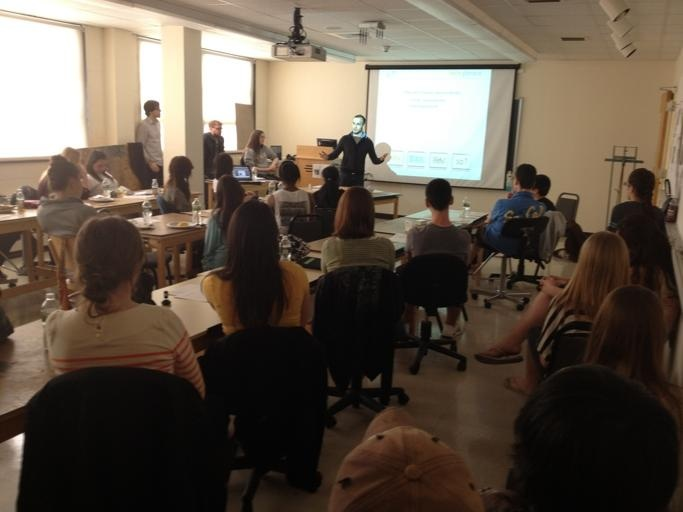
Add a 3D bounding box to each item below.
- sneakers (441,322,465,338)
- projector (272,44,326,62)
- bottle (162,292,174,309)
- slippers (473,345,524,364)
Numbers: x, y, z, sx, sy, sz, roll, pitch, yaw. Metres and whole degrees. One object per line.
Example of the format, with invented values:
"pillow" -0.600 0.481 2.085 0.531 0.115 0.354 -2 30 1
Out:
"sneakers" 0.959 0.640 4.579 0.098 0.127 0.296 0 -1 31
"projector" -0.518 -2.428 6.284 0.614 0.173 0.326 0 15 -8
"bottle" -0.928 0.236 2.807 0.070 0.081 0.072 2 10 20
"slippers" 1.090 0.694 3.701 0.349 0.118 0.128 0 1 -5
